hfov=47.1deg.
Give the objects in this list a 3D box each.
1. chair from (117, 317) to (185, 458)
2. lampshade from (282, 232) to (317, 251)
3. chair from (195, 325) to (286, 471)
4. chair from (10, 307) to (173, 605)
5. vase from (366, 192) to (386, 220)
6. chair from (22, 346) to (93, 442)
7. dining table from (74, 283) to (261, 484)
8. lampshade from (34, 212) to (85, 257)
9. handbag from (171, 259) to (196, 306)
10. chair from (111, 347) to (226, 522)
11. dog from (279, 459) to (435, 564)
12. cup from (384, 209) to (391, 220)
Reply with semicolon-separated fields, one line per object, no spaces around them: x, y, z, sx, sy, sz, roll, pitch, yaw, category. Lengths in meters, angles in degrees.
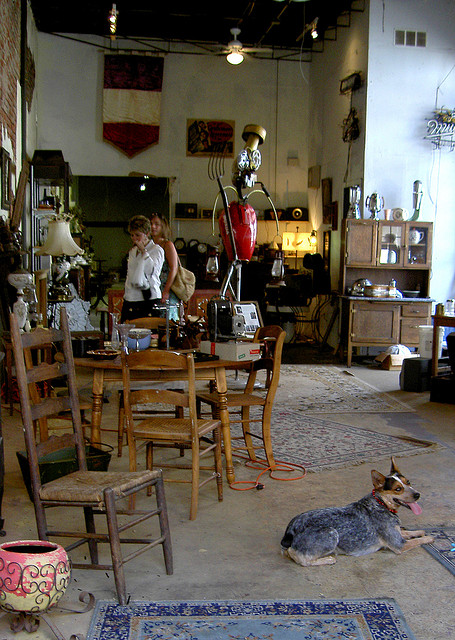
-0.554;0.450;3.748;0.466;0.446;0.710;14;4;-11;chair
1.365;-1.490;9.903;0.632;0.337;0.233;0;8;3;lampshade
0.067;0.475;3.357;0.554;0.824;0.589;6;-1;14;chair
-0.456;0.470;1.847;0.507;1.030;0.699;-4;9;-21;chair
2.161;-1.678;7.647;0.249;0.410;0.314;2;8;19;vase
-0.946;0.421;2.932;0.395;0.577;0.407;-5;3;-8;chair
-0.397;0.468;3.360;1.302;1.252;1.228;-4;-14;13;dining table
-1.757;-0.890;5.392;0.471;0.418;0.497;10;13;38;lampshade
-0.486;-0.441;5.806;0.147;0.362;0.337;-4;-23;-1;handbag
-0.300;0.562;2.668;0.458;0.796;0.504;-2;-2;20;chair
0.520;0.807;2.106;0.610;0.299;0.175;-3;-16;-14;dog
2.338;-1.551;7.621;0.135;0.184;0.136;0;8;0;cup
